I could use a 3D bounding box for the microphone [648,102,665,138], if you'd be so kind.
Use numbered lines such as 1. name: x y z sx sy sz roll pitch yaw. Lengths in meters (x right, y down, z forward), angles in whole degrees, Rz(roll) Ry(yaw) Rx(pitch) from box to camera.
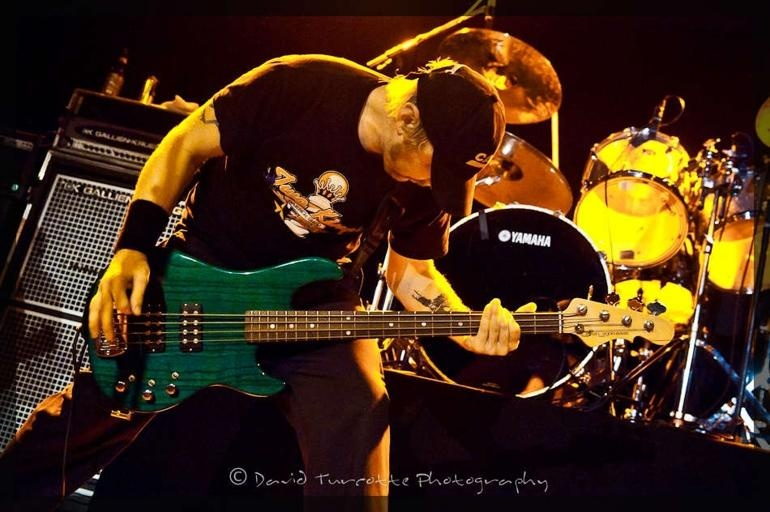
1. microphone: 1.353 -0.678 3.553 0.093 0.191 0.026 9 -5 -11

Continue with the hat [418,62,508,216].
1. hat: 0.325 -0.506 3.334 0.350 0.631 0.422 -20 -13 38

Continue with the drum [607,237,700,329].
1. drum: 1.338 0.097 3.587 0.405 0.412 0.430 1 14 19

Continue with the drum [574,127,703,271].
1. drum: 1.302 -0.338 3.788 0.587 0.528 0.552 10 -4 -30
